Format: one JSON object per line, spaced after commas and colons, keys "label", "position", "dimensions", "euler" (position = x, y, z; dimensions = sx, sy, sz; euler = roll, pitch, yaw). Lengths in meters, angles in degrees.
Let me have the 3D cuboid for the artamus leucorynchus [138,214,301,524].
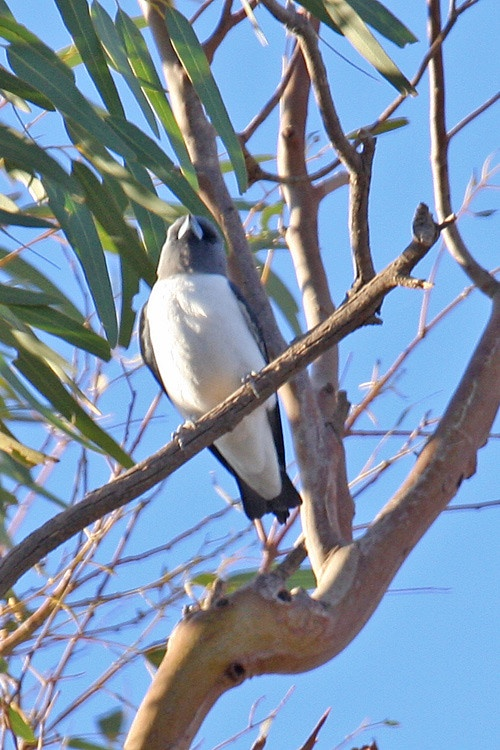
{"label": "artamus leucorynchus", "position": [-0.070, -0.036, 3.089], "dimensions": [0.294, 0.749, 0.417], "euler": [-19, 25, 7]}
